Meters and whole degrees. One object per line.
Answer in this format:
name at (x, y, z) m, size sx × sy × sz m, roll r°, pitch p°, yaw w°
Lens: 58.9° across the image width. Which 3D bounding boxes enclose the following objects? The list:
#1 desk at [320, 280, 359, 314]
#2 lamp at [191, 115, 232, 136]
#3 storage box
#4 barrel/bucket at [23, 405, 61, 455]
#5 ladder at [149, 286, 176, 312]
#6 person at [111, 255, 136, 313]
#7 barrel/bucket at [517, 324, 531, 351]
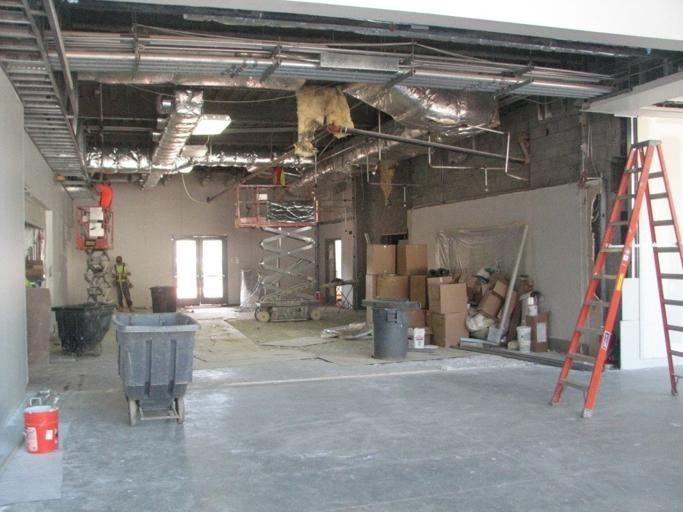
desk at (-0.114, 1.136, 18.578) m, size 0.516 × 0.895 × 2.092 m, roll -2°, pitch 4°, yaw -17°
lamp at (-2.214, -2.306, 10.288) m, size 0.545 × 0.293 × 0.990 m, roll -2°, pitch 4°, yaw -18°
storage box at (2.416, 0.516, 11.457) m, size 1.921 × 2.533 × 3.731 m, roll 5°, pitch -3°, yaw -21°
barrel/bucket at (-2.872, 1.636, 5.790) m, size 0.291 × 0.431 × 0.267 m, roll 0°, pitch 5°, yaw 0°
ladder at (-4.715, 1.145, 16.091) m, size 0.618 × 0.686 × 0.332 m, roll -2°, pitch 5°, yaw -18°
person at (-6.515, 0.801, 18.046) m, size 0.528 × 1.598 × 1.349 m, roll -2°, pitch 5°, yaw -20°
barrel/bucket at (3.023, 1.364, 9.987) m, size 0.219 × 0.397 × 0.250 m, roll 1°, pitch 5°, yaw 16°
